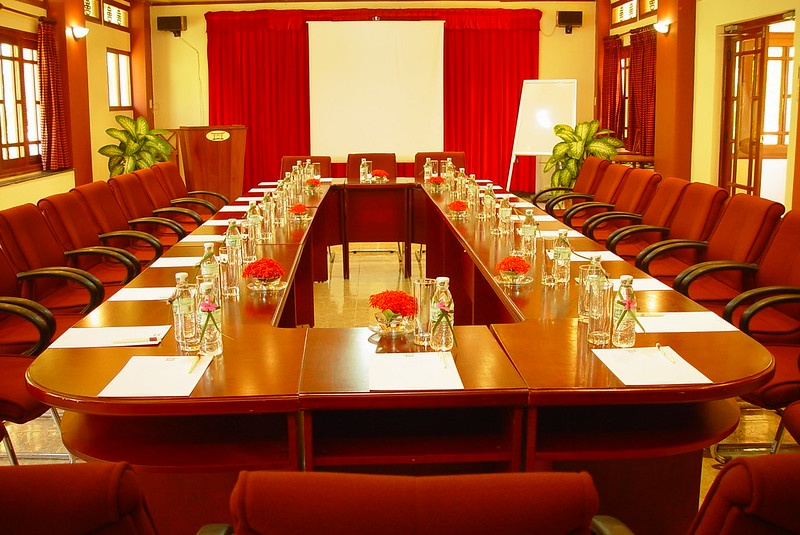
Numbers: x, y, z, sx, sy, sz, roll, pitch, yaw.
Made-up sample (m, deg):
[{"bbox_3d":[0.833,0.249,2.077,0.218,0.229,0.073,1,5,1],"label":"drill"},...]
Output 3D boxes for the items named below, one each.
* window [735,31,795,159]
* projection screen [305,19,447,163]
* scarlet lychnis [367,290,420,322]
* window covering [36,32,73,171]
[{"bbox_3d":[4.900,-2.299,7.613,0.378,1.712,0.605,7,14,30],"label":"window"},{"bbox_3d":[-0.431,-3.300,10.541,3.106,3.192,0.141,-1,11,0],"label":"projection screen"},{"bbox_3d":[-0.028,0.144,2.322,0.132,0.095,0.136,8,9,37],"label":"scarlet lychnis"},{"bbox_3d":[-4.922,-2.480,8.325,0.458,2.180,0.289,1,3,0],"label":"window covering"}]
